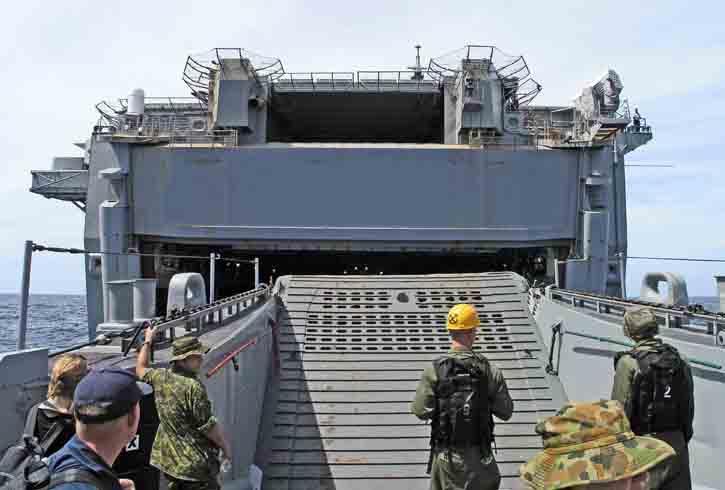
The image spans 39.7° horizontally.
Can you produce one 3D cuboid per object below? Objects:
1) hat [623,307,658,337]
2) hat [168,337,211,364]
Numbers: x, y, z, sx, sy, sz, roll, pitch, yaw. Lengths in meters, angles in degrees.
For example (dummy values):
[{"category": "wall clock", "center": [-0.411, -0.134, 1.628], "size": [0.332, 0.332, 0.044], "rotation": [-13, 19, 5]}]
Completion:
[{"category": "hat", "center": [4.821, 1.355, 17.264], "size": [0.420, 0.560, 0.559], "rotation": [-7, -20, 19]}, {"category": "hat", "center": [-2.951, 1.723, 17.029], "size": [0.464, 0.249, 0.471], "rotation": [-6, 3, 39]}]
